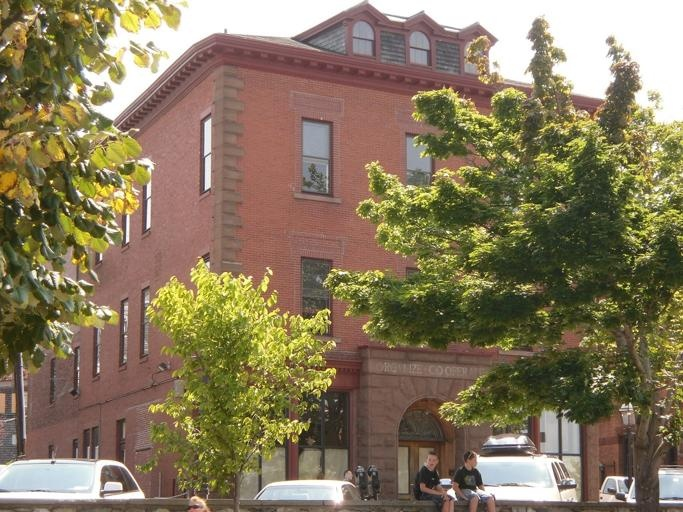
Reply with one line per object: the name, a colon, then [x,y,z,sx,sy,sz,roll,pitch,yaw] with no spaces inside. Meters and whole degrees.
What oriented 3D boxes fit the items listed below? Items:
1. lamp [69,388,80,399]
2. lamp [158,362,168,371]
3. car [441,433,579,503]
lamp: [-9.200,4.772,52.974,0.397,0.355,0.106,11,-9,29]
lamp: [-5.123,3.198,44.169,0.246,0.236,0.248,6,-5,31]
car: [4.335,5.066,36.414,1.713,1.425,2.892,-7,-21,15]
